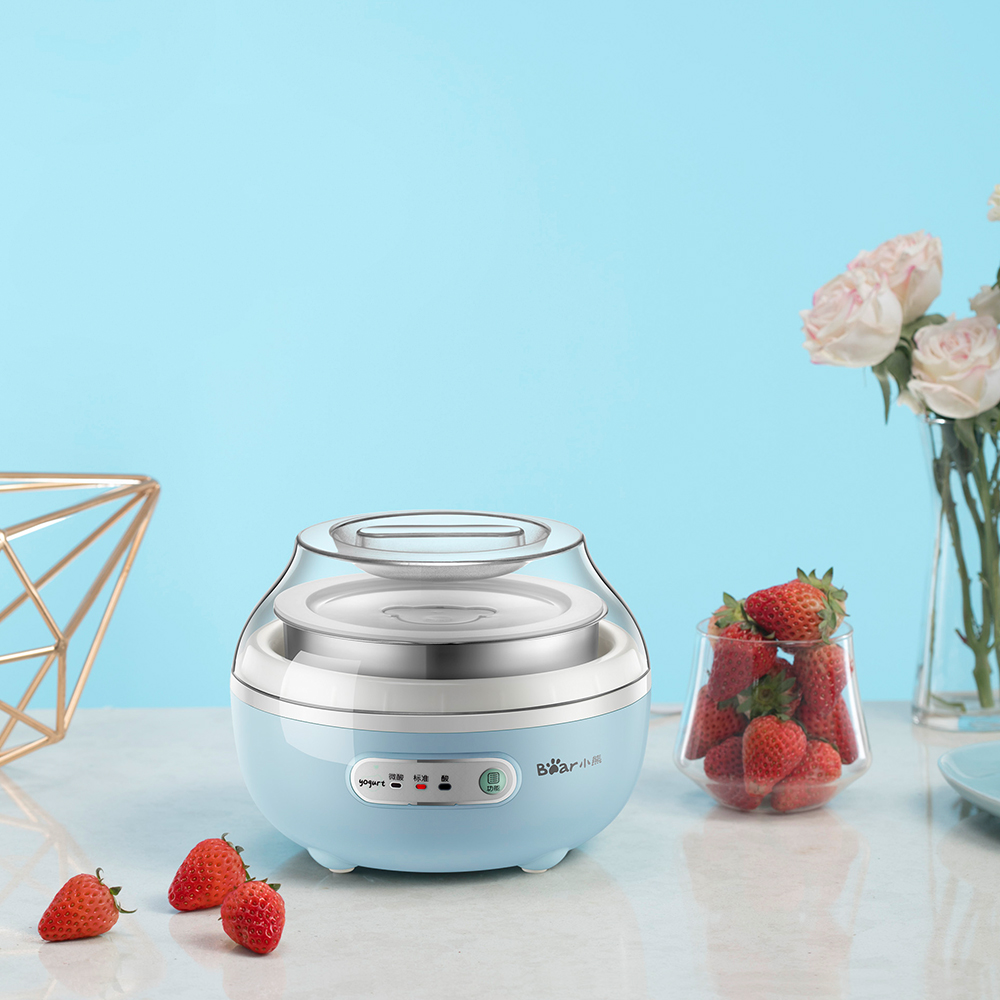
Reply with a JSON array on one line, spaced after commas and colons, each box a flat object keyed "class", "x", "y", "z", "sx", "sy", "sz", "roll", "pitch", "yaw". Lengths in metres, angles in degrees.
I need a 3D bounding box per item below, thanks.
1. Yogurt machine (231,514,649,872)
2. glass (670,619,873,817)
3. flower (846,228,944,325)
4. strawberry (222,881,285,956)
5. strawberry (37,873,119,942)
[{"class": "Yogurt machine", "x": -0.038, "y": 0.105, "z": 0.844, "sx": 0.303, "sy": 0.179, "sz": 0.266, "roll": 0, "pitch": 4, "yaw": -2}, {"class": "glass", "x": 0.202, "y": 0.172, "z": 0.954, "sx": 0.170, "sy": 0.126, "sz": 0.147, "roll": 0, "pitch": 4, "yaw": 1}, {"class": "flower", "x": 0.328, "y": -0.191, "z": 0.959, "sx": 0.086, "sy": 0.058, "sz": 0.068, "roll": -9, "pitch": 39, "yaw": 18}, {"class": "strawberry", "x": -0.147, "y": 0.253, "z": 0.706, "sx": 0.040, "sy": 0.039, "sz": 0.040, "roll": -3, "pitch": 9, "yaw": -21}, {"class": "strawberry", "x": -0.260, "y": 0.252, "z": 0.717, "sx": 0.048, "sy": 0.037, "sz": 0.024, "roll": -3, "pitch": 9, "yaw": -20}]
